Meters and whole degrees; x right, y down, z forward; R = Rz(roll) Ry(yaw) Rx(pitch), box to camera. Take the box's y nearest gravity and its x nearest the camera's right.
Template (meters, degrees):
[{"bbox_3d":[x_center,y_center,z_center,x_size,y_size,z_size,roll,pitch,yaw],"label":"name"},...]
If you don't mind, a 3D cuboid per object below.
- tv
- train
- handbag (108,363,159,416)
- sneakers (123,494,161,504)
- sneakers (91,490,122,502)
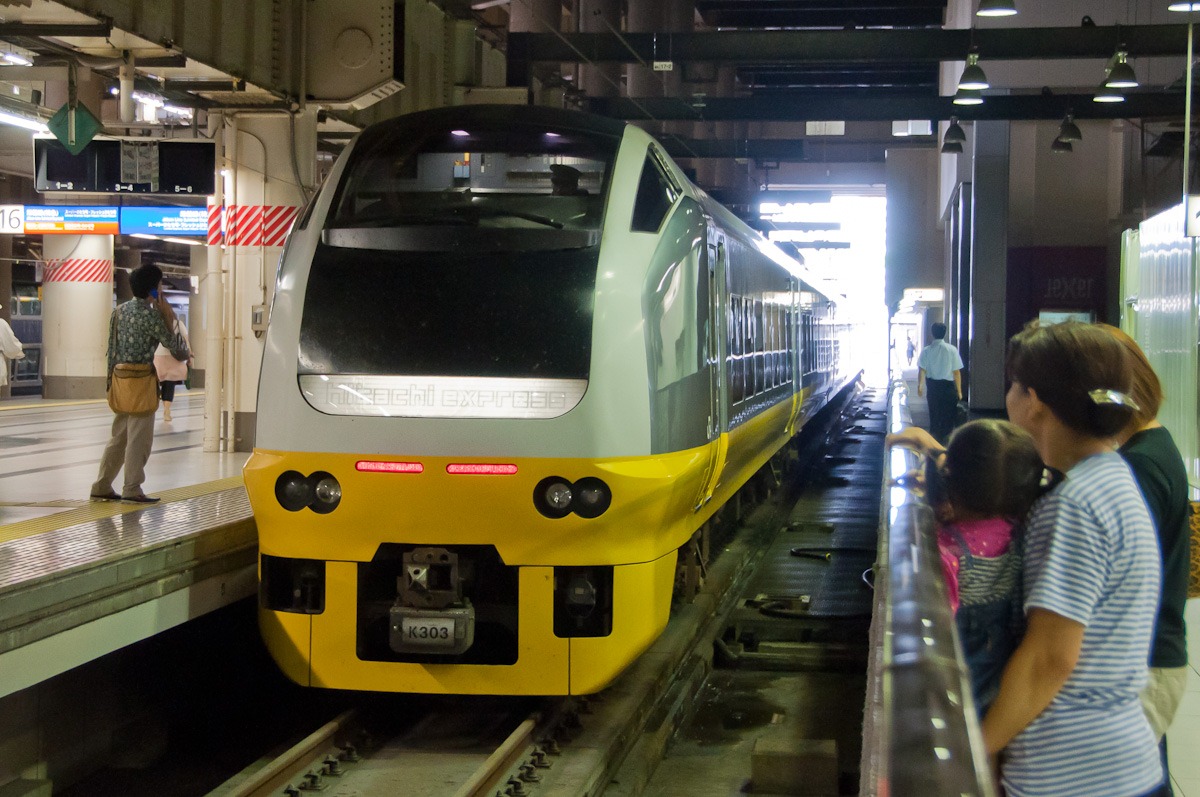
[{"bbox_3d":[-5.968,-2.935,13.508,2.252,0.761,0.260,-9,21,-40],"label":"tv"},{"bbox_3d":[-0.659,0.063,5.930,2.249,2.912,1.097,1,6,9],"label":"train"},{"bbox_3d":[-3.535,-0.072,8.073,0.349,0.387,0.187,-4,27,-28],"label":"handbag"},{"bbox_3d":[-3.465,0.769,8.092,0.266,0.118,0.092,1,2,-9],"label":"sneakers"},{"bbox_3d":[-3.787,0.759,8.216,0.246,0.117,0.083,-1,7,-28],"label":"sneakers"}]
